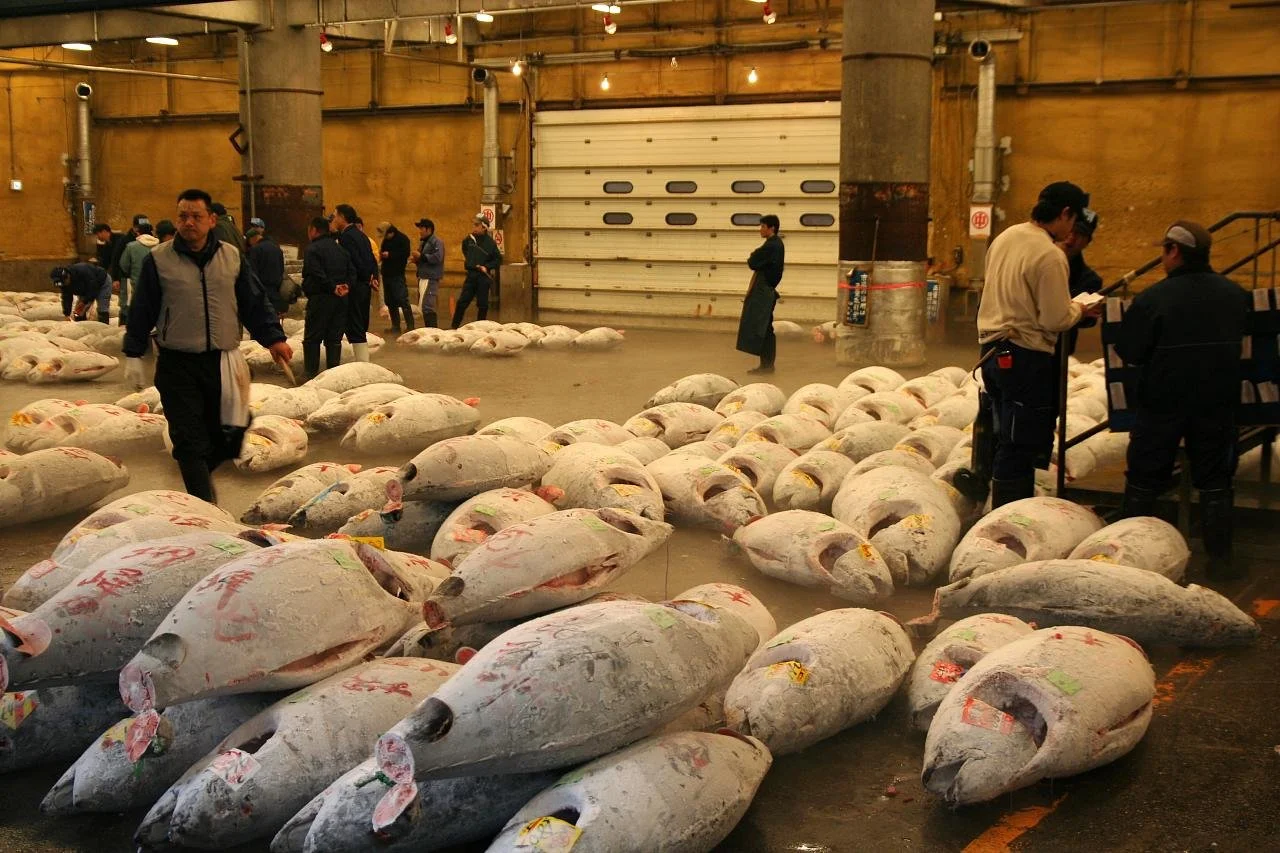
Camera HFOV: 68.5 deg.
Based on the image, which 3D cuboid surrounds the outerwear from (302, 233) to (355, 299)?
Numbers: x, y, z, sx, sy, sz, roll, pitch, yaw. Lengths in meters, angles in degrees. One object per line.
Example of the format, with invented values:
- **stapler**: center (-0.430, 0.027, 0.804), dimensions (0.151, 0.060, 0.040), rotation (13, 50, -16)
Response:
- **outerwear**: center (-3.552, -1.800, 10.598), dimensions (0.519, 0.669, 0.362), rotation (-4, 13, -17)

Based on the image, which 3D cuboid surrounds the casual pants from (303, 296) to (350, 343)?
- **casual pants**: center (-3.574, -1.226, 10.680), dimensions (0.294, 0.633, 0.512), rotation (22, 18, 33)

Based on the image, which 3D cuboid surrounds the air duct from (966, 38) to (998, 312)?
- **air duct**: center (5.667, -4.259, 15.321), dimensions (0.490, 3.842, 0.982), rotation (7, 21, 34)

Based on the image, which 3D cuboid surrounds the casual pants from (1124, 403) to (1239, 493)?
- **casual pants**: center (3.035, 0.106, 5.250), dimensions (0.520, 0.282, 0.984), rotation (12, 10, 17)

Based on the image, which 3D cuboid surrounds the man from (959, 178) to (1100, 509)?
- **man**: center (2.566, -0.404, 5.966), dimensions (0.813, 2.198, 0.768), rotation (-2, 21, 5)

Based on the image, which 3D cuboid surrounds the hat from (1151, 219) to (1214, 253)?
- **hat**: center (3.060, -1.085, 5.303), dimensions (0.184, 0.116, 0.235), rotation (5, 18, -13)

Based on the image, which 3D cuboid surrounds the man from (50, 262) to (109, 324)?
- **man**: center (-8.895, -2.102, 14.831), dimensions (0.689, 0.849, 0.934), rotation (0, -3, 27)

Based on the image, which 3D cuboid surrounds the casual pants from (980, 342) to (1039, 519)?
- **casual pants**: center (2.363, 0.053, 5.903), dimensions (0.381, 1.214, 0.400), rotation (-4, 12, -4)

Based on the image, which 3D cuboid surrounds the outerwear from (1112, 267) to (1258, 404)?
- **outerwear**: center (3.030, -0.468, 5.195), dimensions (0.873, 0.869, 0.509), rotation (-1, 4, 6)
